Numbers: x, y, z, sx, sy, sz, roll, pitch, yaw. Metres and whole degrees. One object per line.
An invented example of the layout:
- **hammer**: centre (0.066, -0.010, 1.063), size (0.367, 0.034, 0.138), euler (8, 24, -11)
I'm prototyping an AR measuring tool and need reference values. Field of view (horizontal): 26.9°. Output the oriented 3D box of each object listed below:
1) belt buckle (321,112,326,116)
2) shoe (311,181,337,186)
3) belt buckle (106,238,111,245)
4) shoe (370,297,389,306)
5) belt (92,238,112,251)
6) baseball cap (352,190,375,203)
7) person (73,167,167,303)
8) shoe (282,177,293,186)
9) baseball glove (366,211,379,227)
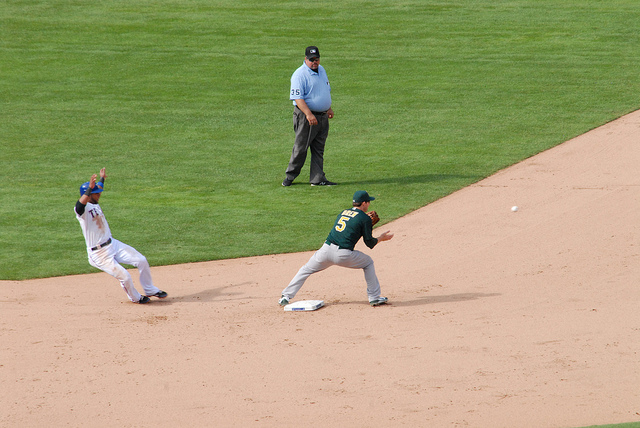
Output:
- **belt buckle**: centre (0.069, -2.266, 29.880), size (0.086, 0.029, 0.107), euler (-10, -4, -12)
- **shoe**: centre (0.066, -0.706, 30.363), size (0.506, 0.153, 0.161), euler (-2, 2, 10)
- **belt buckle**: centre (-4.178, 0.560, 26.376), size (0.085, 0.082, 0.101), euler (-4, -11, 23)
- **shoe**: centre (1.158, 1.715, 26.010), size (0.409, 0.139, 0.121), euler (-14, 20, -6)
- **belt**: centre (-4.304, 0.598, 26.384), size (0.265, 0.059, 0.238), euler (-23, 4, 26)
- **baseball cap**: centre (0.848, -0.350, 26.059), size (0.390, 0.170, 0.225), euler (-12, 25, -20)
- **person**: centre (-4.021, 0.512, 26.256), size (1.413, 2.540, 0.563), euler (10, 24, 25)
- **shoe**: centre (-0.739, -0.741, 30.574), size (0.275, 0.192, 0.518), euler (4, 0, 2)
- **baseball glove**: centre (1.046, 0.080, 26.031), size (0.231, 0.257, 0.107), euler (-8, 4, 12)
